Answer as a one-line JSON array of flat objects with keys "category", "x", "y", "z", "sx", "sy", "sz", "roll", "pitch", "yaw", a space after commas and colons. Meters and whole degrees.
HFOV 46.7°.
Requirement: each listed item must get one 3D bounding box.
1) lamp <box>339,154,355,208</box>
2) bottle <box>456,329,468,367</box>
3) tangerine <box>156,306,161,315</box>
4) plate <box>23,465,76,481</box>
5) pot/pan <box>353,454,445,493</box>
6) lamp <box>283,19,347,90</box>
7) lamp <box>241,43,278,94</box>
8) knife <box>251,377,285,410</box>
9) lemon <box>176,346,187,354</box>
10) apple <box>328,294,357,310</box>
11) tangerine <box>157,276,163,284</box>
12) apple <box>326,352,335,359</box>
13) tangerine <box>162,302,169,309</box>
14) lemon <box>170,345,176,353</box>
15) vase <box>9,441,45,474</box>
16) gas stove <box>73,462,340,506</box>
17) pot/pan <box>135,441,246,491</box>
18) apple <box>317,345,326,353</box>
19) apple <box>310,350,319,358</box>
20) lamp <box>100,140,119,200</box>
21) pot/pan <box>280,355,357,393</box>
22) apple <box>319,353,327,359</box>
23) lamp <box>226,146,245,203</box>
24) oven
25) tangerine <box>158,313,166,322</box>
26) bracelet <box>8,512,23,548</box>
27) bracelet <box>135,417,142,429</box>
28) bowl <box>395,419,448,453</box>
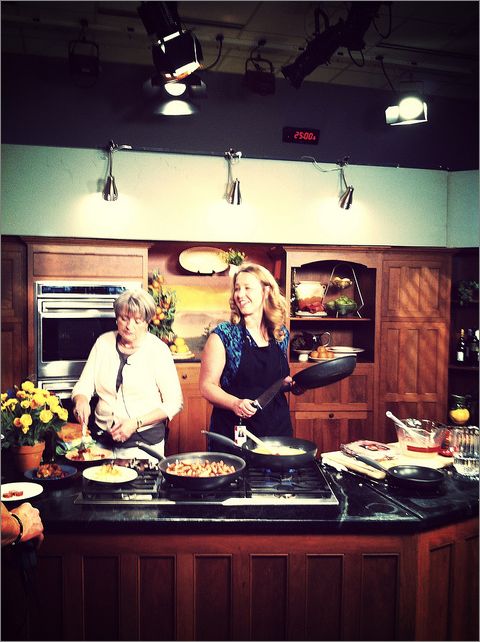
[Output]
[{"category": "lamp", "x": 0.836, "y": -1.075, "z": 4.331, "sx": 0.115, "sy": 0.431, "sz": 0.270, "roll": 1, "pitch": -1, "yaw": 12}, {"category": "bottle", "x": 1.873, "y": 0.213, "z": 4.665, "sx": 0.078, "sy": 0.288, "sz": 0.135, "roll": 0, "pitch": -1, "yaw": 22}, {"category": "tangerine", "x": -0.615, "y": -0.082, "z": 4.206, "sx": 0.047, "sy": 0.060, "sz": 0.049, "roll": -1, "pitch": 11, "yaw": -4}, {"category": "plate", "x": -0.660, "y": 0.523, "z": 1.926, "sx": 0.176, "sy": 0.042, "sz": 0.176, "roll": 2, "pitch": -2, "yaw": -21}, {"category": "pot/pan", "x": 0.574, "y": 0.535, "z": 1.969, "sx": 0.191, "sy": 0.063, "sz": 0.372, "roll": 2, "pitch": -2, "yaw": -16}, {"category": "lamp", "x": 0.459, "y": -1.659, "z": 3.435, "sx": 0.215, "sy": 0.194, "sz": 0.601, "roll": 34, "pitch": 39, "yaw": 6}, {"category": "lamp", "x": 0.156, "y": -2.055, "z": 4.568, "sx": 0.251, "sy": 0.483, "sz": 0.641, "roll": 1, "pitch": -2, "yaw": 2}, {"category": "knife", "x": 0.111, "y": 0.304, "z": 2.353, "sx": 0.037, "sy": 0.019, "sz": 0.220, "roll": 33, "pitch": 53, "yaw": 16}, {"category": "lemon", "x": -0.453, "y": 0.218, "z": 4.326, "sx": 0.053, "sy": 0.069, "sz": 0.056, "roll": -3, "pitch": 0, "yaw": 1}, {"category": "apple", "x": 0.834, "y": -0.142, "z": 4.544, "sx": 0.137, "sy": 0.094, "sz": 0.146, "roll": 2, "pitch": -2, "yaw": -5}, {"category": "tangerine", "x": -0.607, "y": -0.321, "z": 4.260, "sx": 0.051, "sy": 0.075, "sz": 0.053, "roll": 0, "pitch": 2, "yaw": 2}, {"category": "apple", "x": 0.720, "y": 0.266, "z": 4.387, "sx": 0.047, "sy": 0.034, "sz": 0.059, "roll": 1, "pitch": -1, "yaw": -3}, {"category": "tangerine", "x": -0.569, "y": -0.123, "z": 4.242, "sx": 0.036, "sy": 0.044, "sz": 0.029, "roll": 1, "pitch": -9, "yaw": -7}, {"category": "lemon", "x": -0.514, "y": 0.217, "z": 4.296, "sx": 0.047, "sy": 0.061, "sz": 0.049, "roll": 1, "pitch": -1, "yaw": 10}, {"category": "vase", "x": -0.777, "y": 0.492, "z": 2.016, "sx": 0.094, "sy": 0.080, "sz": 0.098, "roll": -1, "pitch": -13, "yaw": 3}, {"category": "gas stove", "x": -0.109, "y": 0.543, "z": 1.844, "sx": 0.820, "sy": 0.055, "sz": 0.328, "roll": 1, "pitch": -2, "yaw": -3}, {"category": "pot/pan", "x": -0.149, "y": 0.426, "z": 1.788, "sx": 0.268, "sy": 0.059, "sz": 0.175, "roll": 1, "pitch": -3, "yaw": 29}, {"category": "apple", "x": 0.642, "y": 0.218, "z": 4.338, "sx": 0.048, "sy": 0.043, "sz": 0.041, "roll": 15, "pitch": 6, "yaw": 27}, {"category": "apple", "x": 0.588, "y": 0.257, "z": 4.355, "sx": 0.046, "sy": 0.057, "sz": 0.048, "roll": -6, "pitch": 3, "yaw": 30}, {"category": "lamp", "x": -0.920, "y": -1.065, "z": 3.926, "sx": 0.110, "sy": 0.456, "sz": 0.249, "roll": 1, "pitch": -1, "yaw": -13}, {"category": "pot/pan", "x": 0.333, "y": 0.207, "z": 2.179, "sx": 0.173, "sy": 0.036, "sz": 0.161, "roll": -30, "pitch": -22, "yaw": 13}, {"category": "apple", "x": 0.654, "y": 0.267, "z": 4.318, "sx": 0.045, "sy": 0.042, "sz": 0.041, "roll": 10, "pitch": -18, "yaw": 4}, {"category": "lamp", "x": -0.047, "y": -1.082, "z": 4.150, "sx": 0.130, "sy": 0.437, "sz": 0.266, "roll": 1, "pitch": -1, "yaw": -1}, {"category": "oven", "x": -1.141, "y": 0.256, "z": 4.036, "sx": 0.660, "sy": 0.981, "sz": 0.491, "roll": -1, "pitch": -12, "yaw": -16}, {"category": "tangerine", "x": -0.605, "y": -0.026, "z": 4.240, "sx": 0.051, "sy": 0.054, "sz": 0.029, "roll": -17, "pitch": 17, "yaw": -2}, {"category": "bracelet", "x": -0.587, "y": 0.546, "z": 1.449, "sx": 0.035, "sy": 0.079, "sz": 0.024, "roll": 0, "pitch": -1, "yaw": 22}, {"category": "bracelet", "x": -0.436, "y": 0.439, "z": 2.416, "sx": 0.014, "sy": 0.031, "sz": 0.041, "roll": 4, "pitch": -15, "yaw": 15}, {"category": "bowl", "x": 0.717, "y": 0.458, "z": 2.227, "sx": 0.139, "sy": 0.088, "sz": 0.145, "roll": 1, "pitch": -2, "yaw": 0}]
